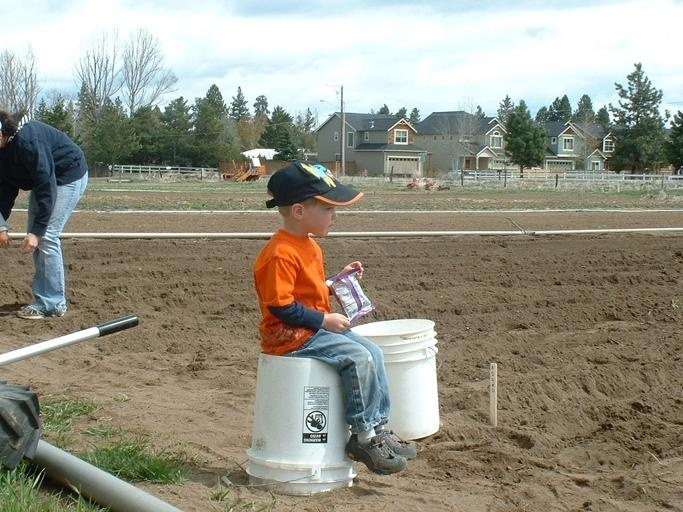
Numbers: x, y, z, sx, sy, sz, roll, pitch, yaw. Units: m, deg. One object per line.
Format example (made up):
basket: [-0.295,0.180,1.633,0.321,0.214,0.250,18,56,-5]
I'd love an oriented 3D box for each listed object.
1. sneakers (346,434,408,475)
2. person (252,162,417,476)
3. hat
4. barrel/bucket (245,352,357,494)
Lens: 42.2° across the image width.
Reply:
sneakers: [0.261,1.400,6.218,0.483,0.204,0.202,19,28,12]
person: [-0.062,0.449,6.336,1.116,2.241,0.487,3,5,2]
hat: [-0.182,-0.524,6.374,0.601,0.208,0.357,-3,7,-12]
barrel/bucket: [-0.226,1.180,6.654,1.002,0.844,0.961,1,2,0]
